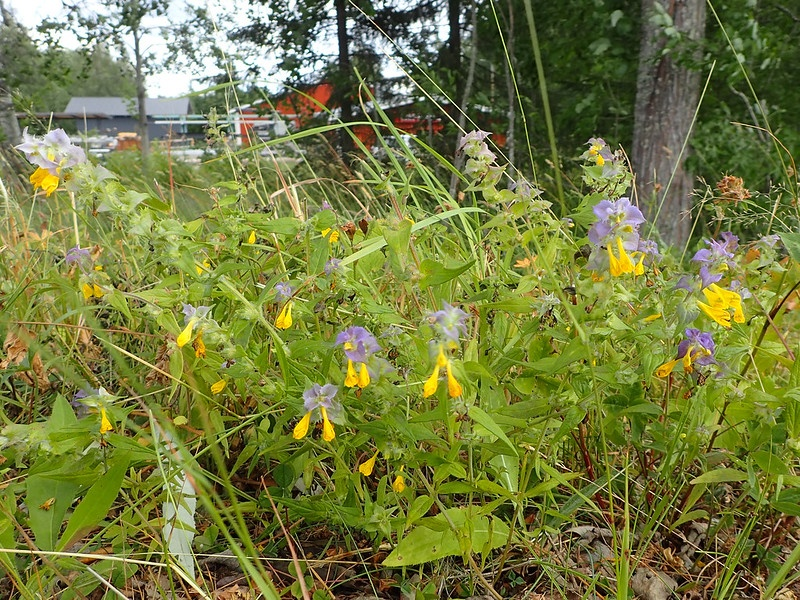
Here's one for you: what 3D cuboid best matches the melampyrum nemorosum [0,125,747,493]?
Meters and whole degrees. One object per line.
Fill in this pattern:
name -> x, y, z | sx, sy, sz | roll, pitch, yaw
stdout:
melampyrum nemorosum -> -0.087, -0.073, 2.550 | 2.037, 1.105, 1.685 | -4, 44, -8
